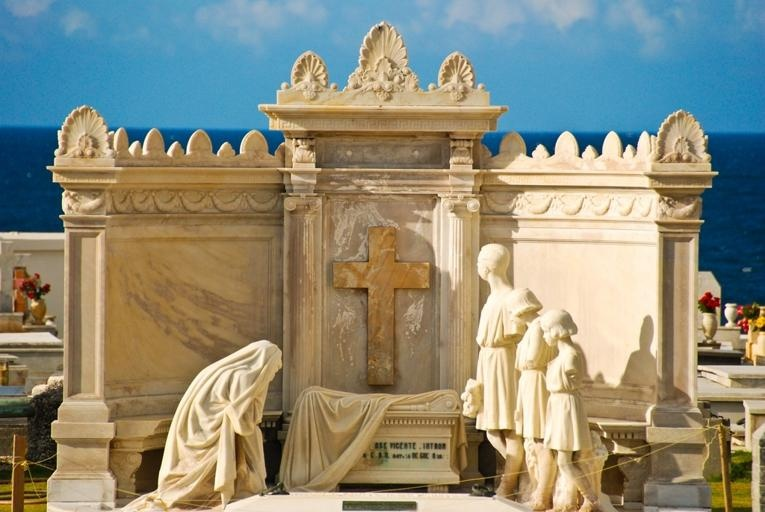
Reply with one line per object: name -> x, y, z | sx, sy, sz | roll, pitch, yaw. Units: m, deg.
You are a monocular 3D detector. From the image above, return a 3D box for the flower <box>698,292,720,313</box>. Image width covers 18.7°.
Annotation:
flower -> 6.049, 0.913, 42.707 | 0.367, 0.373, 0.549 | -1, -3, 3

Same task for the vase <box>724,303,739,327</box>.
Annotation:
vase -> 6.620, 1.164, 43.818 | 0.211, 0.459, 0.766 | -1, -3, 10

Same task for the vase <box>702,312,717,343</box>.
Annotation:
vase -> 6.101, 1.368, 43.002 | 0.294, 0.563, 0.440 | -1, -3, 7

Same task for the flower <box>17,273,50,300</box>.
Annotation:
flower -> -6.564, 0.602, 43.500 | 0.511, 0.496, 0.517 | 3, -2, -2
